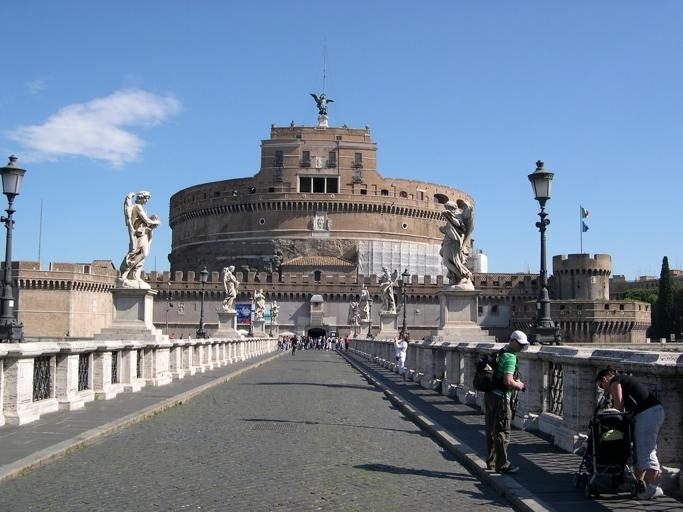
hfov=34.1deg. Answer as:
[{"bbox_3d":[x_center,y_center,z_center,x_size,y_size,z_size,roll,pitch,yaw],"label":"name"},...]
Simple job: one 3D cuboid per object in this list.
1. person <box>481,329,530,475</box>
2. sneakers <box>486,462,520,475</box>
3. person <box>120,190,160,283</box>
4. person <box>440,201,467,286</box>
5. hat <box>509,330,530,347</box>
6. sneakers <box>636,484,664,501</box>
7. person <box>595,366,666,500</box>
[{"bbox_3d":[2.504,2.196,16.911,0.623,2.033,0.866,0,1,8],"label":"person"},{"bbox_3d":[2.446,3.180,16.656,0.501,0.194,0.180,-3,0,2],"label":"sneakers"},{"bbox_3d":[-5.016,-0.396,27.599,0.926,2.303,0.871,0,1,-10],"label":"person"},{"bbox_3d":[2.864,-0.320,27.811,0.747,2.056,1.229,0,1,5],"label":"person"},{"bbox_3d":[2.822,1.282,17.193,0.389,0.174,0.277,14,6,-12],"label":"hat"},{"bbox_3d":[4.361,3.276,15.546,0.411,0.200,0.112,0,1,-20],"label":"sneakers"},{"bbox_3d":[4.145,2.476,15.716,0.806,1.768,0.443,0,1,13],"label":"person"}]
